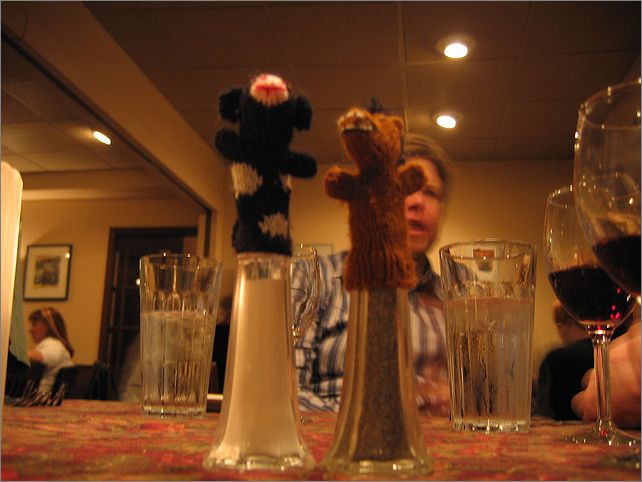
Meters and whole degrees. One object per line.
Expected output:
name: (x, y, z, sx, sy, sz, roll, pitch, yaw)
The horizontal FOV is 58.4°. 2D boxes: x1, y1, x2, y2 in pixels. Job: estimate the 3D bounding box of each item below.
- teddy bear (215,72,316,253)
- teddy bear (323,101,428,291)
teddy bear: (-0.044, -0.062, 0.459, 0.083, 0.154, 0.058, 5, -15, -13)
teddy bear: (0.044, -0.033, 0.456, 0.077, 0.144, 0.039, 8, -16, -25)
